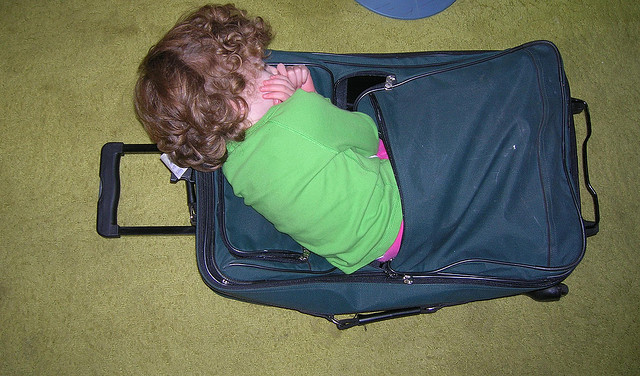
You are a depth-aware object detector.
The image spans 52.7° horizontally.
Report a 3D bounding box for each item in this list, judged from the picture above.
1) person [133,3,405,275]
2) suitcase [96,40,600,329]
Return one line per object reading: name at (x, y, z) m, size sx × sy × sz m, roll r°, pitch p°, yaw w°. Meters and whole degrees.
person at (-0.182, -0.156, 2.667) m, size 1.212 × 0.485 × 0.706 m, roll 38°, pitch 78°, yaw -5°
suitcase at (0.123, 0.058, 2.901) m, size 1.805 × 0.748 × 1.126 m, roll -3°, pitch 84°, yaw 4°
